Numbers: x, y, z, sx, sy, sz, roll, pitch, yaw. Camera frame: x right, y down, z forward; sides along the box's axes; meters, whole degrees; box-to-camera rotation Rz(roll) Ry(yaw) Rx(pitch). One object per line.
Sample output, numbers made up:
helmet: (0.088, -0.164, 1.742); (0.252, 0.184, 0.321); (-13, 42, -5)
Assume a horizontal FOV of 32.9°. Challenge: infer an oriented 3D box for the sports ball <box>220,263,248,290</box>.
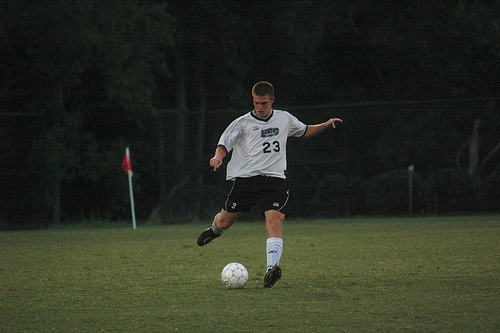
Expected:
sports ball: (-0.350, 2.465, 18.765); (0.580, 0.580, 0.548); (14, -18, 5)
